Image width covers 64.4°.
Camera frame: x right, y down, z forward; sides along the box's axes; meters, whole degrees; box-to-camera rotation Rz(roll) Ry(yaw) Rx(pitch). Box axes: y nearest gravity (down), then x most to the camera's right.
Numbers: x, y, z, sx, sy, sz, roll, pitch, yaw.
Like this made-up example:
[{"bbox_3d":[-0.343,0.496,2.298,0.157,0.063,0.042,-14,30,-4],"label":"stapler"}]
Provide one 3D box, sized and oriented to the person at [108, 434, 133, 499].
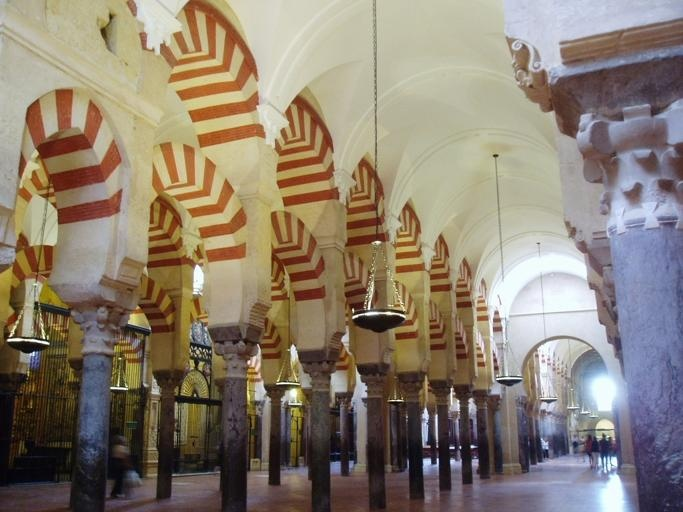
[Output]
[{"bbox_3d":[-4.388,4.058,10.652,0.376,1.203,1.943,5,-19,-22],"label":"person"}]
